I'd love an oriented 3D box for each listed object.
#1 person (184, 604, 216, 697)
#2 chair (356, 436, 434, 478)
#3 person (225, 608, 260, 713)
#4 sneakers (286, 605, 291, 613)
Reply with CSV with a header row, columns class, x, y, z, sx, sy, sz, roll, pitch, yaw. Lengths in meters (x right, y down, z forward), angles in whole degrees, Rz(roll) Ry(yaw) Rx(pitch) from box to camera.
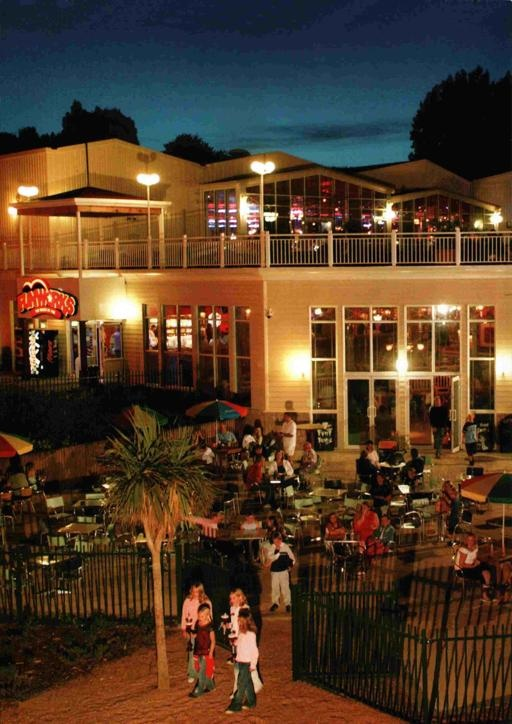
class,x,y,z,sx,sy,sz,roll,pitch,yaw
person,-0.657,3.434,10.778,0.296,1.160,0.594,-1,2,-6
chair,3.072,2.221,20.647,1.307,0.928,0.899,3,0,5
person,-0.171,3.419,10.234,0.357,1.153,0.223,-1,2,-1
sneakers,0.490,3.765,13.716,0.059,0.136,0.188,-1,-12,6
